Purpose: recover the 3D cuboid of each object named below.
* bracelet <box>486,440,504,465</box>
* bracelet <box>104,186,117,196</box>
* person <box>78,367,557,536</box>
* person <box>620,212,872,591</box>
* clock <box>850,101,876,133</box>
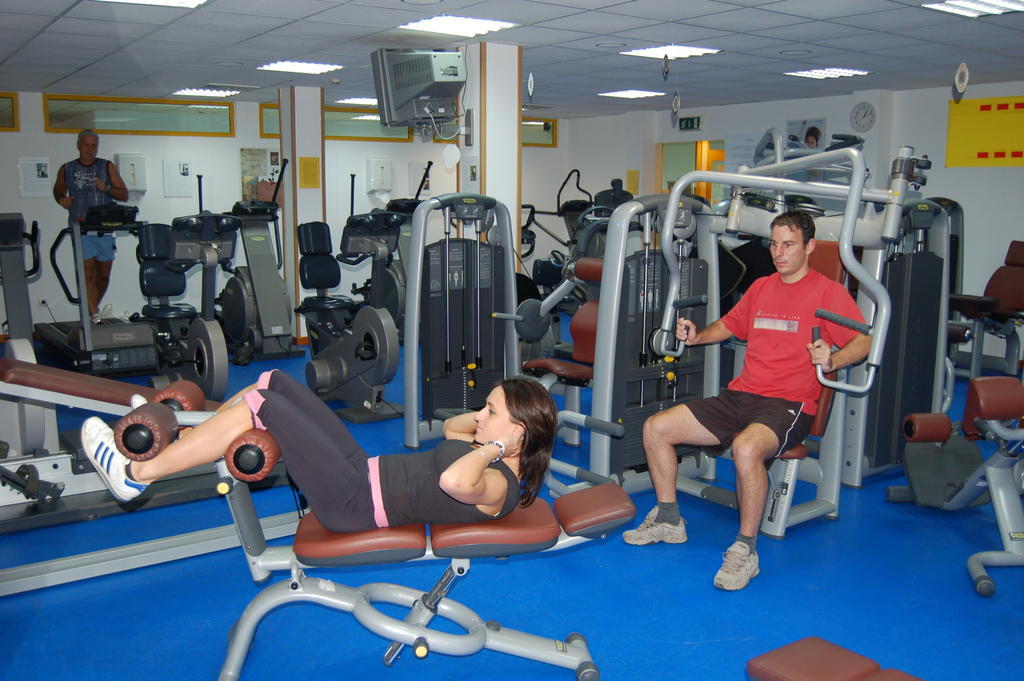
[{"bbox_3d":[-0.072,0.492,3.359,0.072,0.093,0.036,11,1,30],"label":"bracelet"},{"bbox_3d":[-4.716,-1.760,8.928,0.091,0.114,0.051,-9,1,26],"label":"bracelet"},{"bbox_3d":[-0.778,0.479,3.558,1.836,0.683,0.884,6,3,-2],"label":"person"},{"bbox_3d":[1.414,0.262,4.481,1.219,1.988,0.898,-11,17,-32],"label":"person"},{"bbox_3d":[4.536,-2.874,9.796,0.063,0.412,0.337,-9,16,-26],"label":"clock"}]
